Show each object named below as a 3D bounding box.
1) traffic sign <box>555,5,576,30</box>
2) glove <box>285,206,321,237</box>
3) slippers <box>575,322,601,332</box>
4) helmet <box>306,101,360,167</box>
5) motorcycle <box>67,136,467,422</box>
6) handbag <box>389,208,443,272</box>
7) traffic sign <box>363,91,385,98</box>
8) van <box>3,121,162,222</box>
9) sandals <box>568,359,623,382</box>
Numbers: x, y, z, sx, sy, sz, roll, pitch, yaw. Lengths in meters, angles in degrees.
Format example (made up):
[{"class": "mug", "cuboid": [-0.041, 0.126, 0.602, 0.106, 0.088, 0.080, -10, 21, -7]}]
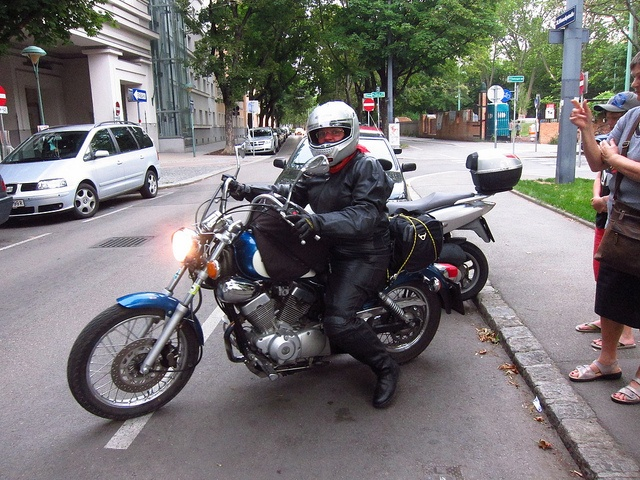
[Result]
[{"class": "traffic sign", "cuboid": [6.325, -5.676, 13.083, 0.262, 0.479, 0.675, -5, 15, -11]}, {"class": "glove", "cuboid": [-0.129, -0.137, 3.493, 0.210, 0.079, 0.160, 31, -8, 40]}, {"class": "slippers", "cuboid": [2.593, 0.839, 4.926, 0.234, 0.058, 0.094, 0, 13, 5]}, {"class": "helmet", "cuboid": [0.082, -0.825, 4.013, 0.383, 0.498, 0.494, 0, 6, 25]}, {"class": "motorcycle", "cuboid": [-0.446, 0.170, 4.516, 3.377, 1.877, 1.509, -7, 20, -21]}, {"class": "handbag", "cuboid": [0.746, 0.020, 4.110, 0.455, 0.490, 0.350, 1, 11, 11]}, {"class": "traffic sign", "cuboid": [3.141, -8.230, 29.123, 0.888, 0.348, 2.910, 1, 15, 10]}, {"class": "van", "cuboid": [-5.670, -1.762, 12.202, 1.904, 1.550, 3.615, 1, 7, 17]}, {"class": "sandals", "cuboid": [2.221, 1.055, 4.176, 0.460, 0.197, 0.167, 0, 0, 2]}]
